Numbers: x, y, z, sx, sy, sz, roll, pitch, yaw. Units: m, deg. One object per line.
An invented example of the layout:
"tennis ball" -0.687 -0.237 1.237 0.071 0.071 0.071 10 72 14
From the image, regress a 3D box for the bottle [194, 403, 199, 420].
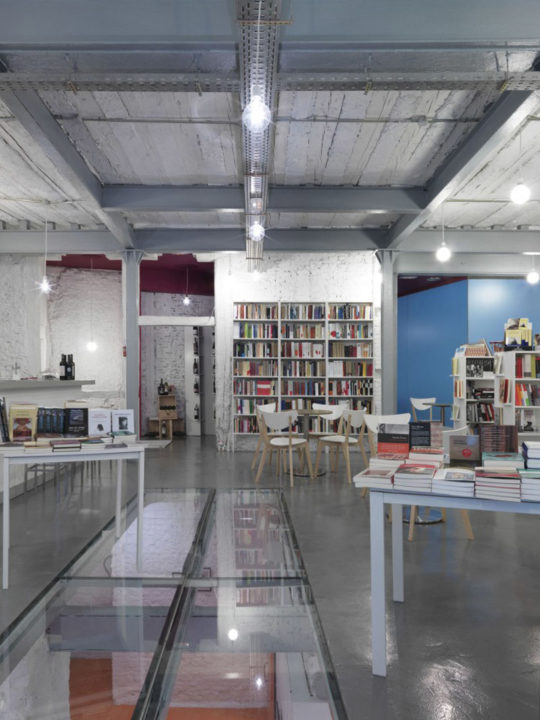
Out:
"bottle" -1.531 1.108 12.206 0.107 0.324 0.045 -1 -1 -10

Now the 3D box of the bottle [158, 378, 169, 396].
"bottle" -2.245 0.573 12.351 0.246 0.337 0.551 -1 -1 -12

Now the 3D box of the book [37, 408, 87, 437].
"book" -1.513 0.466 4.306 0.366 0.241 0.201 0 0 -1

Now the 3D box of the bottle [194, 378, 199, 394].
"bottle" -1.528 0.553 12.137 0.117 0.309 0.060 -1 -1 -15

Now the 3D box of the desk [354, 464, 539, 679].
"desk" 0.778 0.852 2.979 1.096 0.846 0.846 -1 -1 3

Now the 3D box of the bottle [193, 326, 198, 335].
"bottle" -1.549 -0.592 12.140 0.073 0.199 0.130 -2 -1 15

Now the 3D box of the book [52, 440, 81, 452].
"book" -1.340 0.576 3.867 0.184 0.062 0.182 -1 -1 -20
